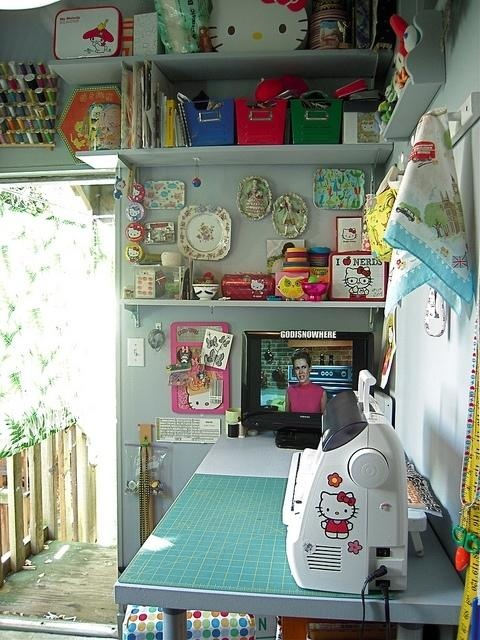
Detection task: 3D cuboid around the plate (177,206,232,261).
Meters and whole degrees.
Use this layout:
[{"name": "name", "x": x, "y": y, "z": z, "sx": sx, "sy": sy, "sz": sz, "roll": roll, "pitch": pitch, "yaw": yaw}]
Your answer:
[{"name": "plate", "x": -0.148, "y": -0.355, "z": 2.060, "sx": 0.232, "sy": 0.222, "sz": 0.039, "roll": 6, "pitch": 7, "yaw": 10}]

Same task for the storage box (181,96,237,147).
[{"name": "storage box", "x": -0.088, "y": -0.721, "z": 1.844, "sx": 0.201, "sy": 0.140, "sz": 0.110, "roll": 4, "pitch": 24, "yaw": 17}]

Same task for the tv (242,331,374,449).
[{"name": "tv", "x": 0.237, "y": 0.247, "z": 1.778, "sx": 0.459, "sy": 0.390, "sz": 0.102, "roll": 0, "pitch": 2, "yaw": 18}]

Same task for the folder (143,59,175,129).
[{"name": "folder", "x": -0.303, "y": -0.836, "z": 1.857, "sx": 0.031, "sy": 0.227, "sz": 0.212, "roll": 8, "pitch": 19, "yaw": 18}]

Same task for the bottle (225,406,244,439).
[{"name": "bottle", "x": -0.021, "y": 0.393, "z": 1.895, "sx": 0.084, "sy": 0.091, "sz": 0.088, "roll": -1, "pitch": 5, "yaw": 6}]

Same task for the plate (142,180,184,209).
[{"name": "plate", "x": -0.309, "y": -0.520, "z": 2.073, "sx": 0.132, "sy": 0.089, "sz": 0.017, "roll": 1, "pitch": -3, "yaw": 1}]

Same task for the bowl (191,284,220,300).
[{"name": "bowl", "x": -0.131, "y": -0.103, "z": 1.959, "sx": 0.075, "sy": 0.043, "sz": 0.073, "roll": -1, "pitch": -2, "yaw": 0}]

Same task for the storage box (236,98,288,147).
[{"name": "storage box", "x": 0.065, "y": -0.704, "z": 1.835, "sx": 0.202, "sy": 0.137, "sz": 0.119, "roll": -5, "pitch": 10, "yaw": -17}]

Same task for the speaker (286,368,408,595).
[{"name": "speaker", "x": 0.200, "y": 0.282, "z": 1.012, "sx": 0.223, "sy": 0.361, "sz": 0.394, "roll": 1, "pitch": 1, "yaw": 5}]

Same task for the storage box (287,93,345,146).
[{"name": "storage box", "x": 0.307, "y": -0.744, "z": 1.842, "sx": 0.269, "sy": 0.175, "sz": 0.264, "roll": -9, "pitch": 26, "yaw": -12}]

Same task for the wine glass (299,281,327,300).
[{"name": "wine glass", "x": 0.273, "y": -0.107, "z": 1.831, "sx": 0.091, "sy": 0.071, "sz": 0.056, "roll": 1, "pitch": 1, "yaw": 23}]
